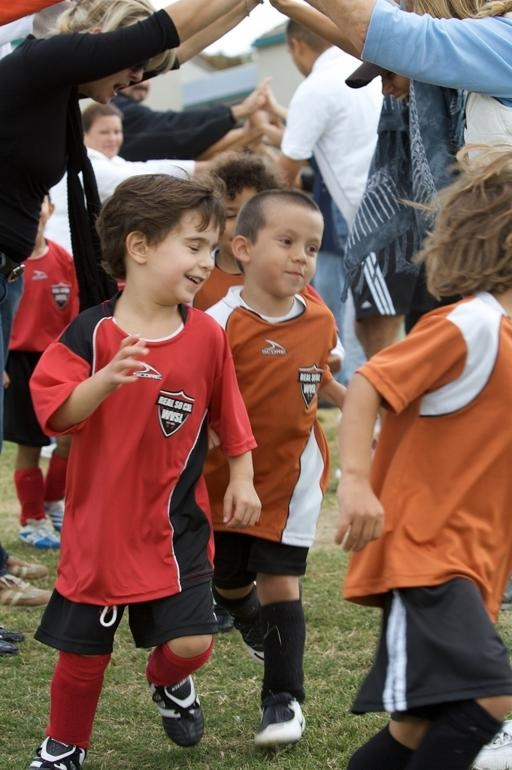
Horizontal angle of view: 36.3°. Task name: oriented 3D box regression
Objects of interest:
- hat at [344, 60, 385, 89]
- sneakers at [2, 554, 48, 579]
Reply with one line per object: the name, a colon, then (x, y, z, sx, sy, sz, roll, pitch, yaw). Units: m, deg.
hat: (0.356, -1.018, 2.566, 0.082, 0.033, 0.126, -1, -20, -44)
sneakers: (-0.830, 0.661, 2.822, 0.186, 0.061, 0.056, 3, 9, -13)
